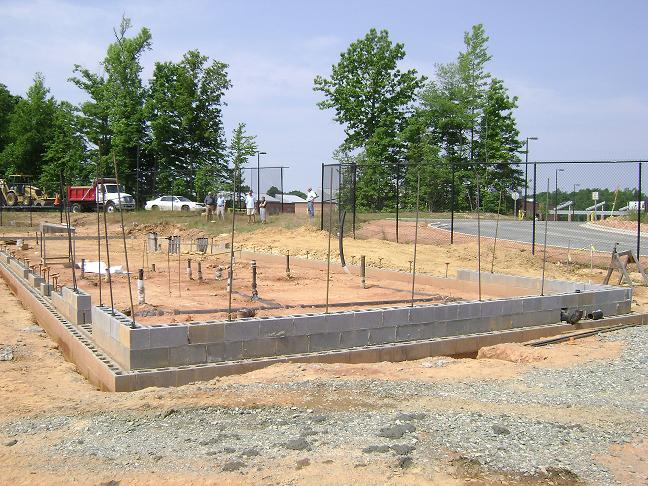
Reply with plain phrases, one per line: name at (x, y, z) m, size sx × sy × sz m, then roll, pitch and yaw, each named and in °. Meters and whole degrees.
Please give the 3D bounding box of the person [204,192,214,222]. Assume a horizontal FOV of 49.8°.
person at (-6.107, -1.870, 37.099) m, size 0.390 × 1.296 × 1.146 m, roll -3°, pitch 12°, yaw -10°

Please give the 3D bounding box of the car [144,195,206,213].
car at (-9.755, -2.838, 45.419) m, size 3.887 × 1.016 × 1.668 m, roll -1°, pitch 1°, yaw 21°

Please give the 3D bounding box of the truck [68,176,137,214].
truck at (-15.410, -3.109, 46.649) m, size 4.201 × 1.728 × 1.698 m, roll 1°, pitch 8°, yaw 12°
